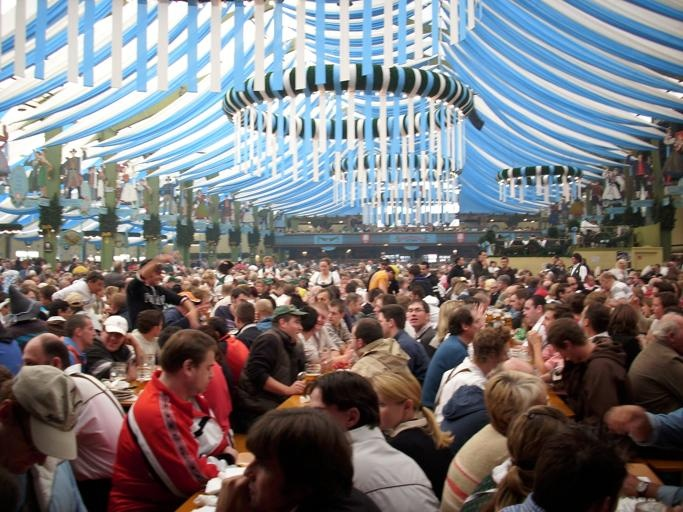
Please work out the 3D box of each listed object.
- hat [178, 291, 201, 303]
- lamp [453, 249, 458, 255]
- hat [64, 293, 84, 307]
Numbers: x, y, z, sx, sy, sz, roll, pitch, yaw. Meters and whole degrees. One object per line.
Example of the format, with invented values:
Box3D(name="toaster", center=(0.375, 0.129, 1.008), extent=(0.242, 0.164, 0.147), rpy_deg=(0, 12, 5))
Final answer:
Box3D(name="hat", center=(-1.928, 0.516, 8.543), extent=(0.184, 0.061, 0.109), rpy_deg=(18, -1, -28))
Box3D(name="lamp", center=(8.034, -0.268, 47.492), extent=(0.366, 0.334, 0.337), rpy_deg=(2, 5, 16))
Box3D(name="hat", center=(-3.326, 0.535, 8.355), extent=(0.166, 0.122, 0.251), rpy_deg=(-31, 8, -38))
